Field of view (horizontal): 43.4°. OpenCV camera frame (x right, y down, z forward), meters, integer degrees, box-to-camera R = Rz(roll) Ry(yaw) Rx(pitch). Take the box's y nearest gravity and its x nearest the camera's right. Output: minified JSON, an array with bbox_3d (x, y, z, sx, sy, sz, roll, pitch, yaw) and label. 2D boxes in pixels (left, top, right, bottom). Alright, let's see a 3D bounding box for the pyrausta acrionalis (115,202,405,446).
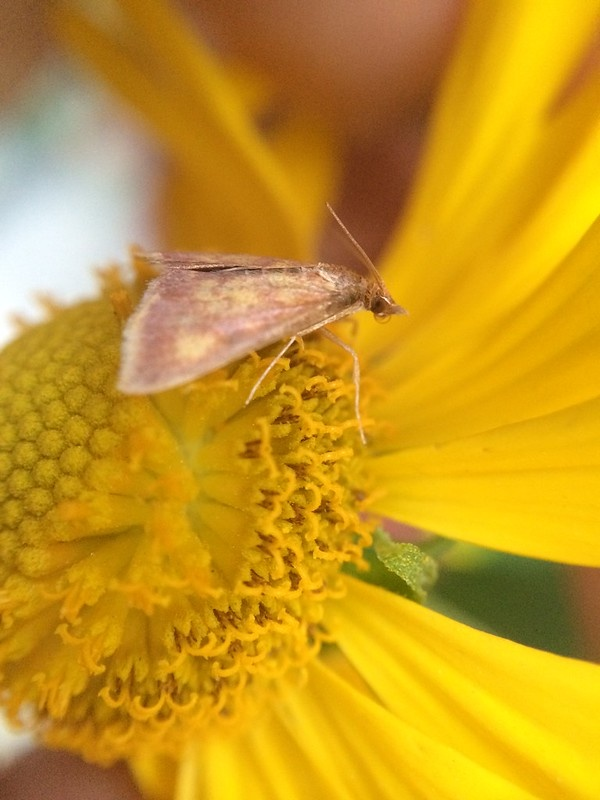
[{"bbox_3d":[-0.054,-0.043,0.897,0.326,0.271,0.203,13,-51,-13],"label":"pyrausta acrionalis"}]
